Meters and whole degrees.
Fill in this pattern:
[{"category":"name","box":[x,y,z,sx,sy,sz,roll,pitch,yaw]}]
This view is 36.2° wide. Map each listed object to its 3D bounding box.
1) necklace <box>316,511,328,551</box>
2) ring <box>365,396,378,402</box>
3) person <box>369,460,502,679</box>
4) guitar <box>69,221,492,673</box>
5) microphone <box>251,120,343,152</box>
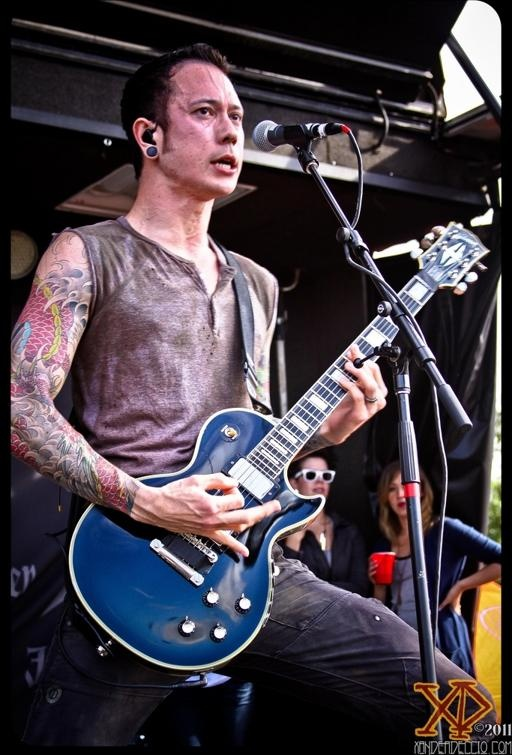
[{"category":"necklace","box":[0.368,0.845,4.276,0.066,0.147,0.017,3,-41,-8]},{"category":"ring","box":[0.342,0.066,2.280,0.023,0.005,0.016,-4,31,-26]},{"category":"person","box":[0.774,0.854,3.621,0.568,0.952,0.203,7,-18,-33]},{"category":"guitar","box":[0.088,0.233,2.323,0.533,1.475,0.174,47,-25,-1]},{"category":"microphone","box":[0.119,-0.676,2.230,0.101,0.090,0.331,-10,13,-39]}]
